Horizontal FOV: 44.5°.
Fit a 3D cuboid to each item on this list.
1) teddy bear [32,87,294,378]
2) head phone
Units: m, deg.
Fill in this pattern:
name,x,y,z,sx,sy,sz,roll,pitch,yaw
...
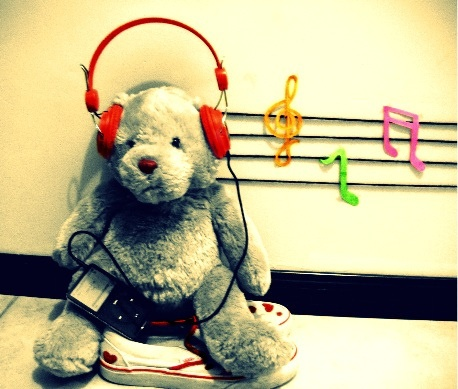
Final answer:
name,x,y,z,sx,sy,sz,roll,pitch,yaw
teddy bear,-0.162,0.082,1.590,0.702,0.730,0.600,5,18,10
head phone,-0.208,-0.326,1.649,0.417,0.406,0.158,-1,-16,-8
